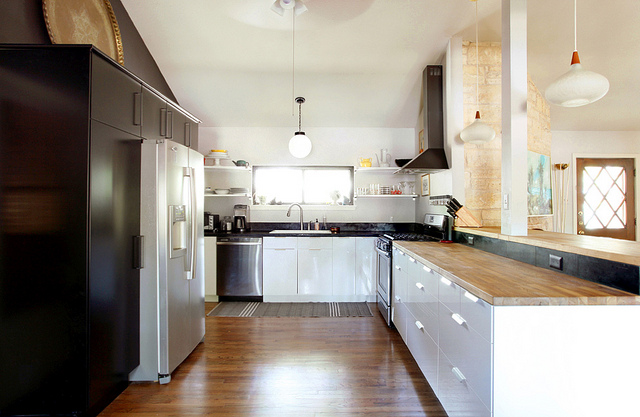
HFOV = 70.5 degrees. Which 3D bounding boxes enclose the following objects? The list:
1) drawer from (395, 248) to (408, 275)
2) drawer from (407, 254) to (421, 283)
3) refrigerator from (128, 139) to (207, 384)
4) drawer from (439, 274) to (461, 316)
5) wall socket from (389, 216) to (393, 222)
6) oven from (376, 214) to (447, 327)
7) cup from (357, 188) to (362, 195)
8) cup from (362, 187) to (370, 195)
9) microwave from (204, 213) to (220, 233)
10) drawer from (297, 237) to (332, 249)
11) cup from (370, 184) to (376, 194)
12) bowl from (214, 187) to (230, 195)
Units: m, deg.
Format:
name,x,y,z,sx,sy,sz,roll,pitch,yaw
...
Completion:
name,x,y,z,sx,sy,sz,roll,pitch,yaw
drawer,0.948,0.603,5.213,0.166,0.232,0.313,1,1,1
drawer,1.005,0.652,4.834,0.172,0.242,0.326,1,0,0
refrigerator,-1.606,0.505,4.802,0.503,2.417,1.155,3,15,12
drawer,1.175,0.786,4.179,0.221,0.312,0.420,2,1,-3
wall socket,1.118,0.174,7.125,0.070,0.095,0.050,0,-4,-2
oven,1.185,0.752,6.081,0.717,1.397,1.009,2,2,0
cup,0.617,-0.265,7.002,0.069,0.064,0.160,1,16,5
cup,0.708,-0.264,7.043,0.080,0.155,0.157,-2,-1,26
microwave,-1.603,0.208,6.917,0.228,0.312,0.321,1,-1,1
drawer,-0.073,0.498,6.488,0.492,0.159,0.051,0,14,0
cup,0.819,-0.298,6.981,0.112,0.212,0.115,0,-2,0
bowl,-1.508,-0.273,6.981,0.230,0.061,0.289,-3,16,-11
